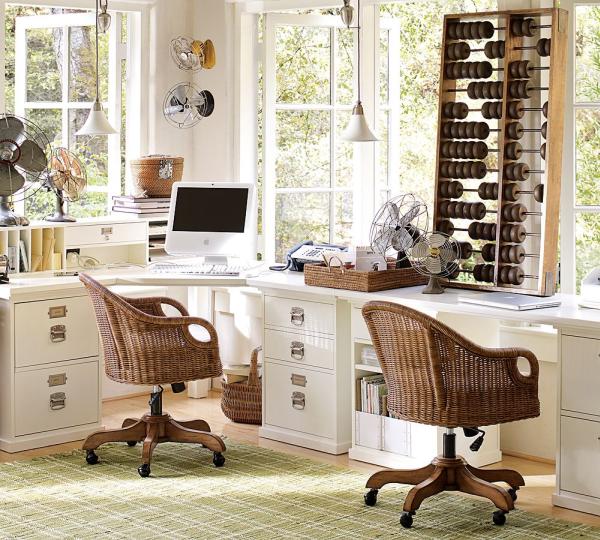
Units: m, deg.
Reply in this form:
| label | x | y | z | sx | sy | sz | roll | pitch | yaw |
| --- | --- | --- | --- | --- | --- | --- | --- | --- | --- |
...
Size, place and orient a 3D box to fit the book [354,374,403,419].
| label | x | y | z | sx | sy | sz | roll | pitch | yaw |
| --- | --- | --- | --- | --- | --- | --- | --- | --- | --- |
| book | 0.351 | 0.605 | 2.925 | 0.242 | 0.197 | 0.178 | 3 | 3 | 42 |

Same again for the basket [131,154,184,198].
| label | x | y | z | sx | sy | sz | roll | pitch | yaw |
| --- | --- | --- | --- | --- | --- | --- | --- | --- | --- |
| basket | -0.970 | -0.651 | 4.135 | 0.370 | 0.231 | 0.336 | -2 | 2 | -16 |

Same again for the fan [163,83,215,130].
| label | x | y | z | sx | sy | sz | roll | pitch | yaw |
| --- | --- | --- | --- | --- | --- | --- | --- | --- | --- |
| fan | -0.820 | -1.214 | 4.418 | 0.382 | 0.318 | 0.130 | 0 | -1 | -5 |
